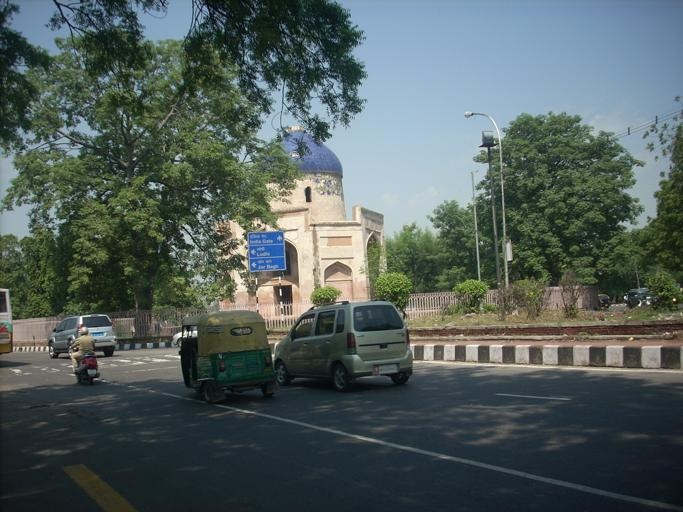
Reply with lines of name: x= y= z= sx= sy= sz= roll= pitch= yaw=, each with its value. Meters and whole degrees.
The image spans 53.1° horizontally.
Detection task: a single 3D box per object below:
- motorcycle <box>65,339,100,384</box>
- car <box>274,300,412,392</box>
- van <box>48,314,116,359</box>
motorcycle: x=-7.843 y=3.117 z=20.792 sx=0.876 sy=1.026 sz=1.571 roll=-1 pitch=0 yaw=-26
car: x=-0.048 y=2.158 z=17.046 sx=3.279 sy=2.082 sz=1.375 roll=0 pitch=4 yaw=39
van: x=-11.927 y=3.677 z=31.712 sx=2.258 sy=2.065 sz=4.309 roll=2 pitch=-1 yaw=-39
